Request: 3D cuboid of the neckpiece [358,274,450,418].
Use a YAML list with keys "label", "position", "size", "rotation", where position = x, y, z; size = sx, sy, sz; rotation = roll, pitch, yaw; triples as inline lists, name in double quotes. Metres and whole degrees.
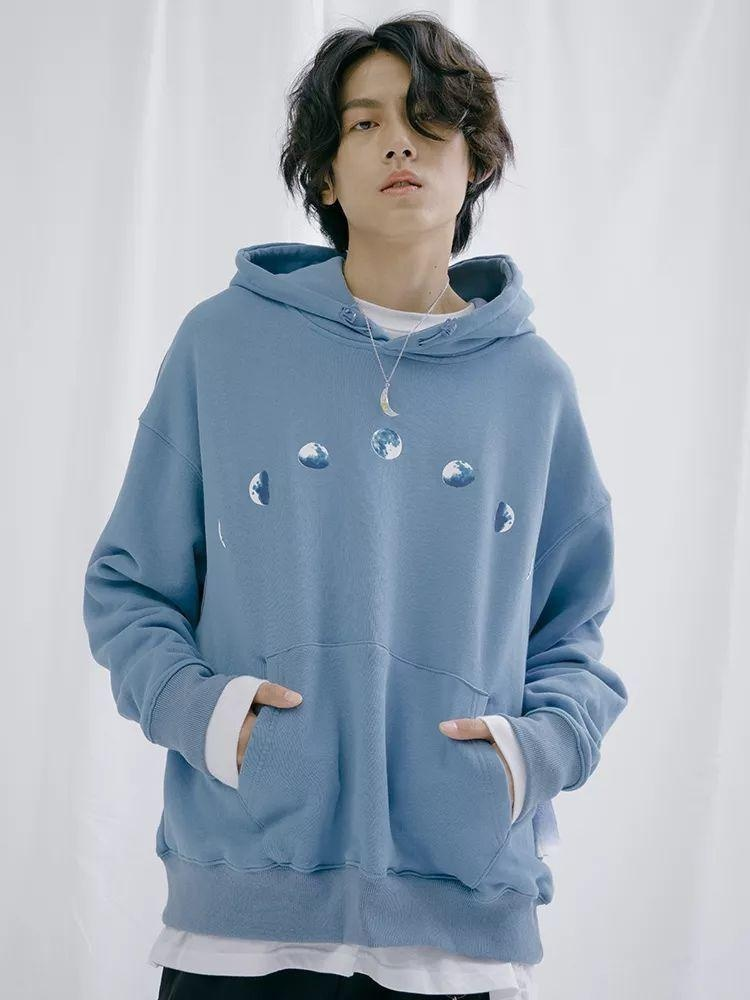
- label: "neckpiece"
  position: [0.041, -0.203, 1.995]
  size: [0.128, 0.174, 0.102]
  rotation: [7, -16, 1]
